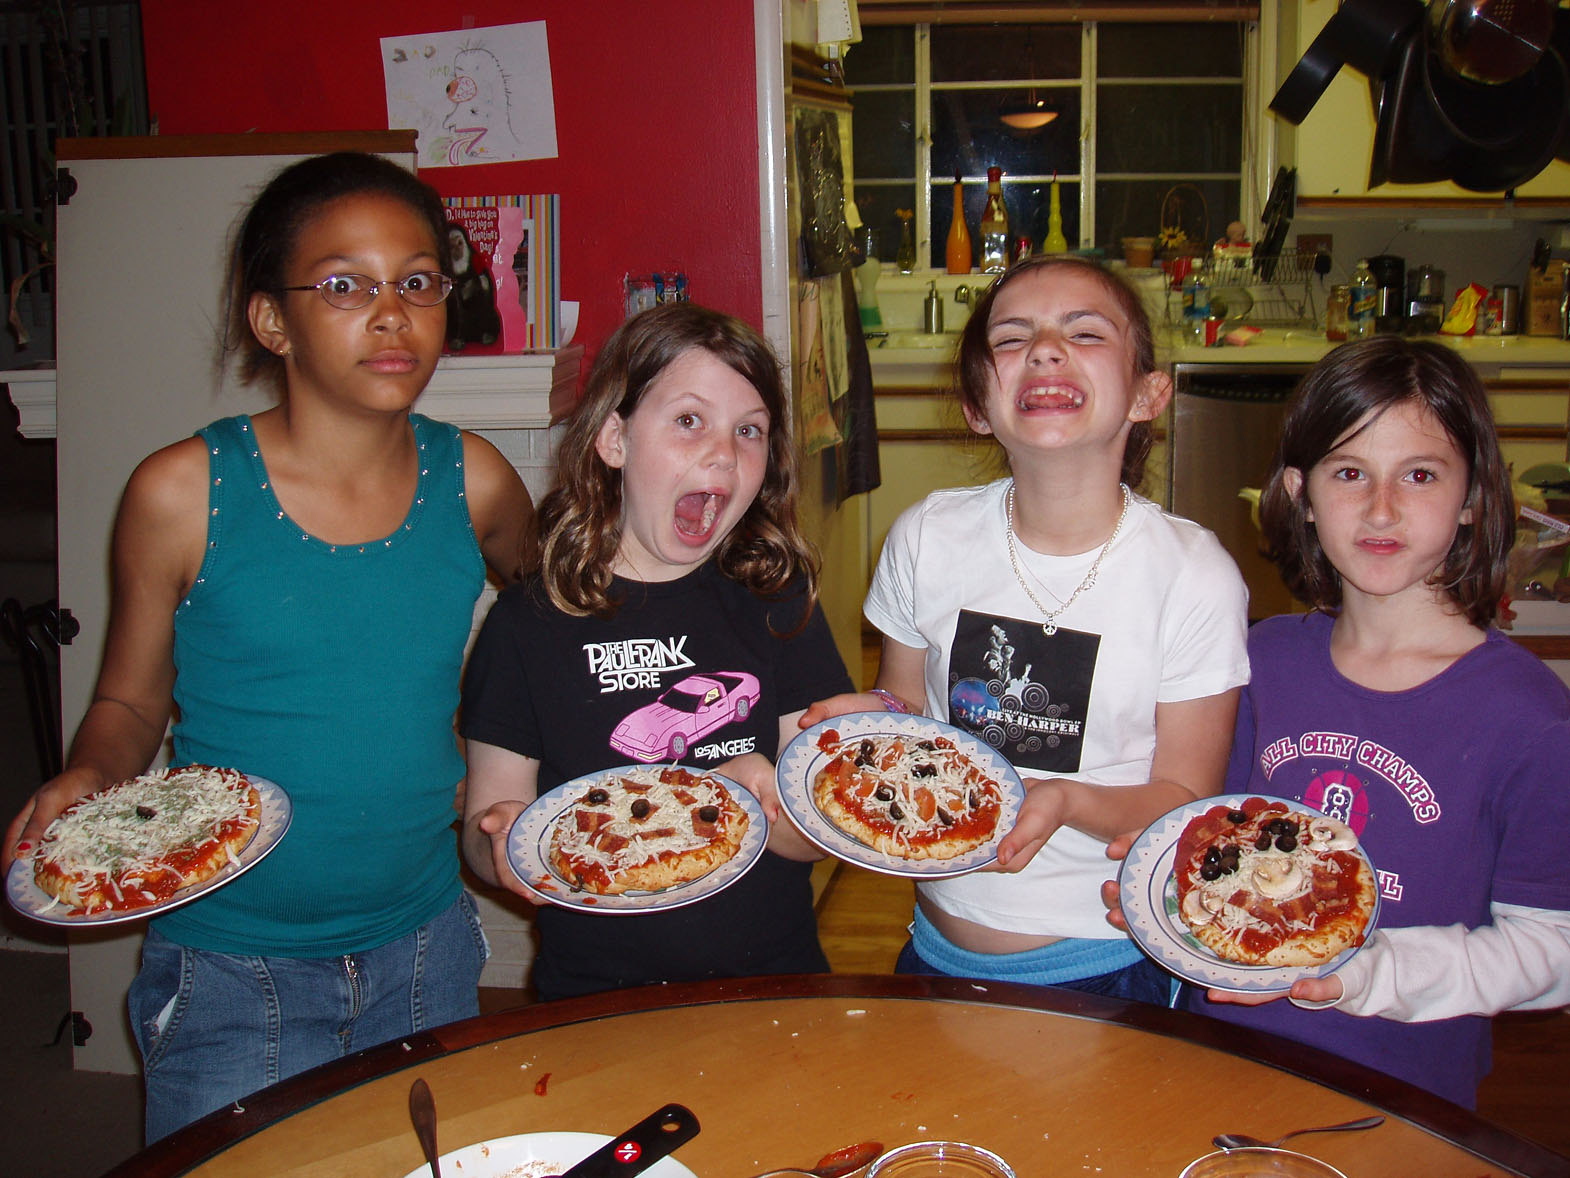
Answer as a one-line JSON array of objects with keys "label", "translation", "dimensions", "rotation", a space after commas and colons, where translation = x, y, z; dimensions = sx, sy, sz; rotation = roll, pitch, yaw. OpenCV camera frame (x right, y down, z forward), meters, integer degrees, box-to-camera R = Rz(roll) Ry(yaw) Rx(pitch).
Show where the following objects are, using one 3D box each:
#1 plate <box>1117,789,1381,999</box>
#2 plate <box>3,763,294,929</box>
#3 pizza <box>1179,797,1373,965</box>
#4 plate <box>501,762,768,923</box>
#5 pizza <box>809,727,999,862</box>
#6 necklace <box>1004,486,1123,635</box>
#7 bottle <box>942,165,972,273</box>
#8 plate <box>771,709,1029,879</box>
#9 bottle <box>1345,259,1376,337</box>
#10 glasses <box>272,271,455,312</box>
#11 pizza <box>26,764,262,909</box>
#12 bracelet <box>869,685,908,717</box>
[{"label": "plate", "translation": [0.668, 0.435, 1.661], "dimensions": [0.293, 0.080, 0.288], "rotation": [-38, 39, -22]}, {"label": "plate", "translation": [-0.960, 0.384, 1.790], "dimensions": [0.309, 0.118, 0.375], "rotation": [10, 19, 34]}, {"label": "pizza", "translation": [0.688, 0.409, 1.659], "dimensions": [0.197, 0.070, 0.208], "rotation": [8, 46, 25]}, {"label": "plate", "translation": [-0.222, 0.376, 1.785], "dimensions": [0.393, 0.095, 0.310], "rotation": [-6, 16, -17]}, {"label": "pizza", "translation": [0.194, 0.325, 1.888], "dimensions": [0.303, 0.112, 0.239], "rotation": [0, 15, 6]}, {"label": "necklace", "translation": [0.460, -0.032, 2.039], "dimensions": [0.139, 0.268, 0.042], "rotation": [8, -1, 25]}, {"label": "bottle", "translation": [1.006, -2.087, 6.811], "dimensions": [0.158, 0.540, 0.417], "rotation": [1, 15, 9]}, {"label": "plate", "translation": [0.184, 0.313, 1.885], "dimensions": [0.286, 0.076, 0.288], "rotation": [-16, 40, -32]}, {"label": "bottle", "translation": [2.958, -1.482, 6.026], "dimensions": [0.148, 0.353, 0.361], "rotation": [5, 16, 23]}, {"label": "glasses", "translation": [-0.715, -0.510, 2.022], "dimensions": [0.275, 0.063, 0.097], "rotation": [-8, 17, -23]}, {"label": "pizza", "translation": [-0.947, 0.380, 1.776], "dimensions": [0.213, 0.054, 0.193], "rotation": [-15, 36, -37]}, {"label": "bracelet", "translation": [0.188, 0.201, 2.153], "dimensions": [0.054, 0.022, 0.042], "rotation": [27, 12, 24]}]
